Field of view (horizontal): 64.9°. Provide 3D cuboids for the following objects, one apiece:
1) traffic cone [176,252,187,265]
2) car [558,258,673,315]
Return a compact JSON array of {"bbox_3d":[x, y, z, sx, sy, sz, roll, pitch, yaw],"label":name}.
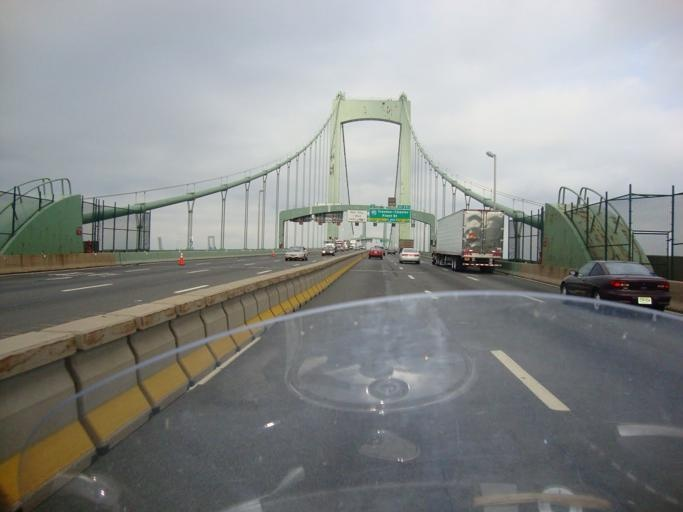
[{"bbox_3d":[-11.952,0.234,39.772,0.709,0.986,0.782,-2,-2,8],"label":"traffic cone"},{"bbox_3d":[7.106,0.713,14.333,1.118,0.858,2.521,3,3,0],"label":"car"}]
